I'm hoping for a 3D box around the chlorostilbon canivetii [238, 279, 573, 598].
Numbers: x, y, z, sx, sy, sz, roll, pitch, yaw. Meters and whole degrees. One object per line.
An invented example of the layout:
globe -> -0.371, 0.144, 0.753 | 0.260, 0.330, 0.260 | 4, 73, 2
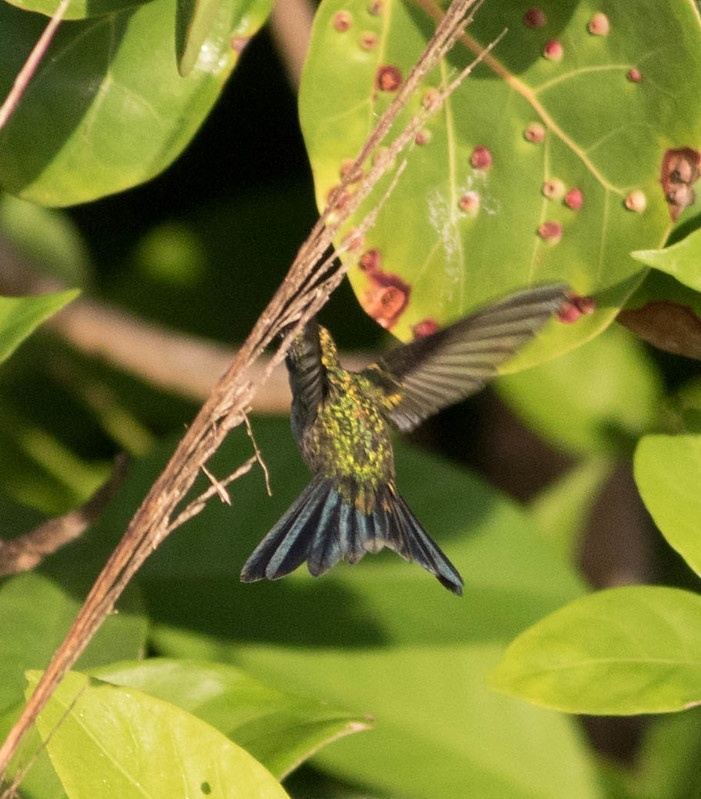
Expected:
chlorostilbon canivetii -> 0.028, 0.016, 0.674 | 0.209, 0.208, 0.118 | 3, 16, -26
